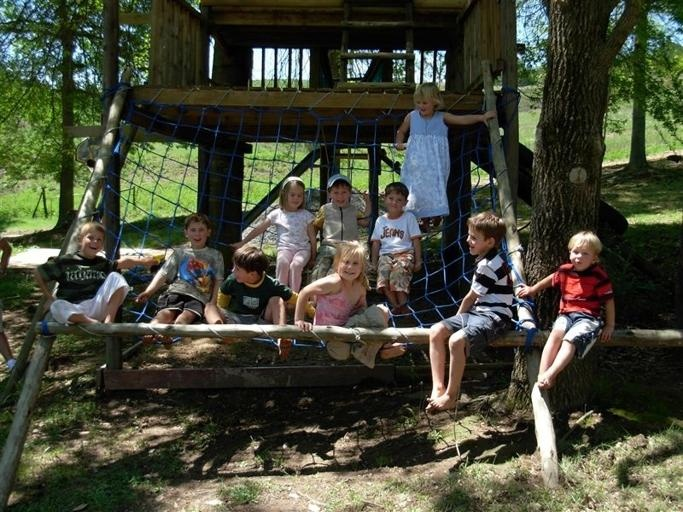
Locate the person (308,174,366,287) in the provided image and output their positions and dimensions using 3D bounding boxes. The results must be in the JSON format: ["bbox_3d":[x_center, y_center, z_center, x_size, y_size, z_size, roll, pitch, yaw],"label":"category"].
[{"bbox_3d":[0.042,-0.284,6.532,0.735,0.810,1.245,-2,26,7],"label":"person"}]

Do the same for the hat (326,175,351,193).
[{"bbox_3d":[0.058,-0.784,6.803,0.216,0.175,0.280,0,7,-4],"label":"hat"}]

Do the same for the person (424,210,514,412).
[{"bbox_3d":[1.042,0.430,5.204,0.476,1.531,0.847,5,8,33],"label":"person"}]

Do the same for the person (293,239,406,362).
[{"bbox_3d":[0.143,0.391,5.536,0.960,0.966,0.610,6,10,14],"label":"person"}]

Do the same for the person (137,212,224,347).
[{"bbox_3d":[-1.323,0.208,5.822,0.799,0.900,1.260,5,21,6],"label":"person"}]

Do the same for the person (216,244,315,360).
[{"bbox_3d":[-0.597,0.412,6.168,1.084,0.819,0.880,0,2,2],"label":"person"}]

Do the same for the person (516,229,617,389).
[{"bbox_3d":[1.744,0.414,5.215,0.651,1.211,0.518,-3,7,-23],"label":"person"}]

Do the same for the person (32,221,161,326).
[{"bbox_3d":[-1.937,0.161,5.641,1.050,0.920,0.673,3,4,-11],"label":"person"}]
